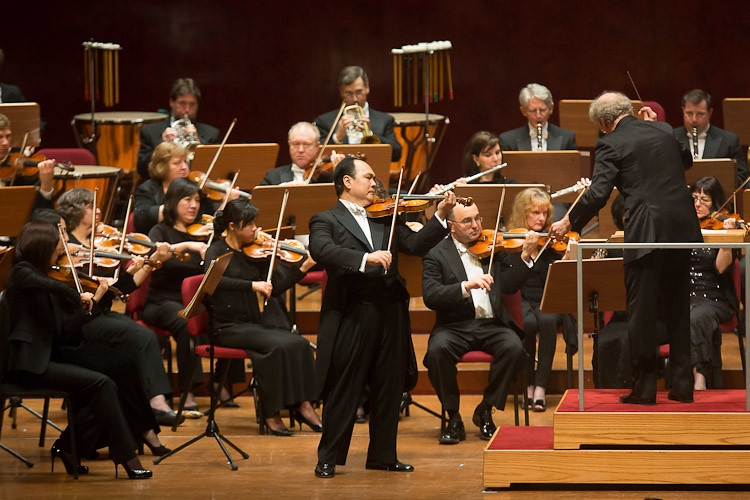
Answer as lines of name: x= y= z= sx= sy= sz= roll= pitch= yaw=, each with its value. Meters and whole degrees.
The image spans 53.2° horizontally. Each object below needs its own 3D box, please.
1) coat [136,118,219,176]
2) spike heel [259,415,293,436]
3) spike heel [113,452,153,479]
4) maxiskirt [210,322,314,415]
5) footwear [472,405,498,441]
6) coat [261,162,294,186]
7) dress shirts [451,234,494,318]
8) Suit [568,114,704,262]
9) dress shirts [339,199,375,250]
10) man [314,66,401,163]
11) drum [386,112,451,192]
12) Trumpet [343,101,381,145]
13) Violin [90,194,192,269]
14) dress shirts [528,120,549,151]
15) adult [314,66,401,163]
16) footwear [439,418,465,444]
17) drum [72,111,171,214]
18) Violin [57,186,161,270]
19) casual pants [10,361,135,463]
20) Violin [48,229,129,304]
coat: x=-1.753 y=-0.955 z=6.533 sx=0.573 sy=0.462 sz=0.561 roll=4 pitch=11 yaw=23
spike heel: x=-0.627 y=1.089 z=4.656 sx=0.264 sy=0.138 sz=0.093 roll=-7 pitch=-5 yaw=42
spike heel: x=-1.268 y=1.163 z=4.034 sx=0.255 sy=0.190 sz=0.092 roll=1 pitch=-2 yaw=-2
maxiskirt: x=-0.639 y=0.712 z=4.739 sx=0.662 sy=0.441 sz=0.422 roll=6 pitch=9 yaw=29
footwear: x=0.675 y=1.030 z=4.580 sx=0.125 sy=0.201 sz=0.312 roll=-1 pitch=6 yaw=-3
coat: x=-0.768 y=-0.586 z=5.924 sx=0.233 sy=0.079 sz=0.170 roll=-18 pitch=18 yaw=-40
dress shirts: x=0.584 y=0.179 z=4.732 sx=0.084 sy=0.522 sz=0.211 roll=-24 pitch=-21 yaw=34
Suit: x=1.317 y=-0.354 z=3.747 sx=0.623 sy=0.630 sz=0.296 roll=-2 pitch=7 yaw=-13
dress shirts: x=-0.083 y=-0.149 z=4.009 sx=0.047 sy=0.265 sz=0.154 roll=-26 pitch=-13 yaw=22
man: x=-0.165 y=-1.172 z=6.502 sx=0.563 sy=0.474 sz=0.971 roll=-1 pitch=-1 yaw=5
drum: x=0.430 y=-1.035 z=7.649 sx=0.849 sy=0.943 sz=0.913 roll=2 pitch=4 yaw=-2
Trumpet: x=-0.136 y=-1.041 z=6.225 sx=0.246 sy=0.215 sz=0.427 roll=-3 pitch=17 yaw=-3
Violin: x=-1.710 y=-0.047 z=5.127 sx=0.818 sy=0.340 sz=0.155 roll=12 pitch=-23 yaw=18
dress shirts: x=1.340 y=-0.916 z=6.158 sx=0.152 sy=0.285 sz=0.071 roll=1 pitch=6 yaw=17
adult: x=-0.147 y=-1.146 z=6.336 sx=0.563 sy=0.474 sz=0.971 roll=-1 pitch=-1 yaw=5
footwear: x=0.463 y=1.086 z=4.462 sx=0.088 sy=0.104 sz=0.211 roll=-1 pitch=-7 yaw=23
drum: x=-2.716 y=-0.934 z=7.963 sx=0.947 sy=0.999 sz=0.952 roll=-2 pitch=9 yaw=-13
Violin: x=-1.717 y=-0.114 z=4.945 sx=0.872 sy=0.357 sz=0.162 roll=33 pitch=-21 yaw=-33
casual pants: x=-1.599 y=0.863 z=4.011 sx=0.665 sy=0.538 sz=0.168 roll=0 pitch=7 yaw=6
Violin: x=-1.752 y=0.138 z=4.301 sx=0.634 sy=0.259 sz=0.112 roll=24 pitch=-26 yaw=-26
